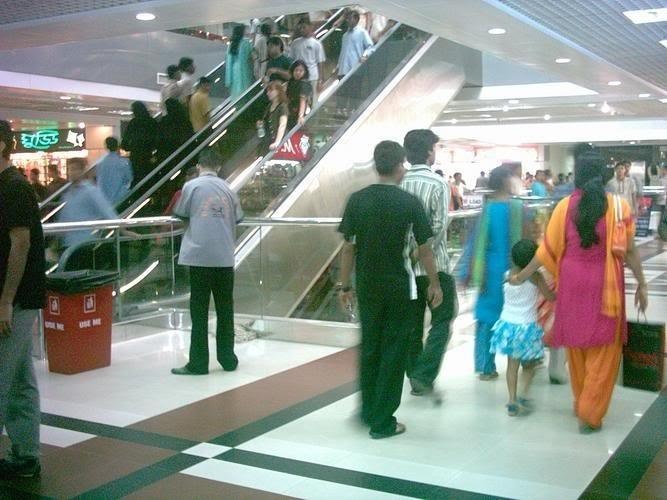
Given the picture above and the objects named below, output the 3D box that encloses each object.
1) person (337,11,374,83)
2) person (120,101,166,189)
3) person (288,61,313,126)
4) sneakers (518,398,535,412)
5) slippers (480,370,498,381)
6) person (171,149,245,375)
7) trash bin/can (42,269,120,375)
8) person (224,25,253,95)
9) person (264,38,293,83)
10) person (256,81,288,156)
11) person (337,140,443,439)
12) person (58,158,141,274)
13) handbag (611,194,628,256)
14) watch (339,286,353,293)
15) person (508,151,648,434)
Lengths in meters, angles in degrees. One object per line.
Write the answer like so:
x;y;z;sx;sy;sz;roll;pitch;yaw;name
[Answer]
0.383;-4.245;10.472;0.760;1.475;0.449;3;5;41;person
-3.509;-1.895;9.397;0.658;1.706;0.431;-12;45;-26;person
-0.664;-2.951;9.601;0.442;1.301;0.660;0;4;2;person
1.465;1.189;3.869;0.091;0.119;0.113;-19;29;30;sneakers
1.382;1.117;4.552;0.160;0.069;0.066;-2;2;-30;slippers
-1.181;0.110;4.752;0.645;2.083;0.291;-1;3;-11;person
-2.433;0.707;4.937;0.748;0.818;0.760;-6;-5;2;trash bin/can
-1.950;-3.958;10.621;0.526;1.611;0.689;-2;4;-20;person
-1.063;-3.654;9.748;0.593;0.824;0.425;3;5;43;person
-1.140;-2.411;9.297;0.708;1.372;0.569;3;5;41;person
0.339;0.262;3.398;0.579;1.982;0.399;3;5;44;person
-2.846;-0.462;5.959;0.578;1.323;1.418;-2;4;-27;person
1.927;-0.170;3.438;0.092;0.400;0.192;1;4;29;handbag
0.079;0.275;3.589;0.051;0.024;0.067;3;7;14;watch
1.753;0.261;3.563;0.747;1.934;0.387;2;4;28;person
